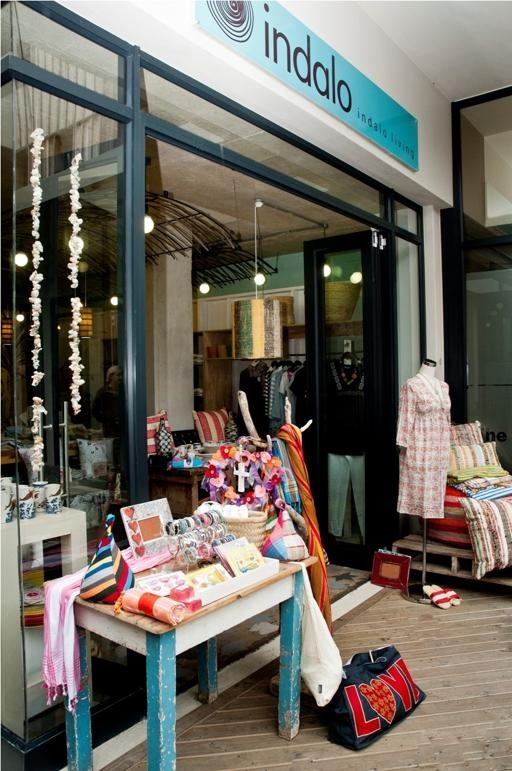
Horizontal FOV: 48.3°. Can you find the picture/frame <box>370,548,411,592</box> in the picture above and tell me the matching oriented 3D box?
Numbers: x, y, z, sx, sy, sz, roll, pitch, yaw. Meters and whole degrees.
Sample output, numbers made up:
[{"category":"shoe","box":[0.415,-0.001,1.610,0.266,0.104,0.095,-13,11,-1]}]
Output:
[{"category":"picture/frame","box":[0.867,1.189,3.678,0.256,0.221,0.172,0,-2,27]}]

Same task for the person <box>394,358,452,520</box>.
[{"category":"person","box":[1.068,0.351,3.657,0.319,1.035,0.291,0,-2,14]}]

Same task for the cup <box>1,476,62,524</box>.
[{"category":"cup","box":[-0.673,0.349,1.731,0.078,0.110,0.155,-2,-5,29]}]

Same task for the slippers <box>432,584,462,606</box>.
[{"category":"slippers","box":[1.137,1.275,3.436,0.170,0.064,0.246,0,-2,33]}]

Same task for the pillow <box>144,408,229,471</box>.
[{"category":"pillow","box":[-0.401,0.322,3.432,0.269,0.340,0.997,1,-2,9]}]

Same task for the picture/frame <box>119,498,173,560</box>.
[{"category":"picture/frame","box":[-0.356,0.470,1.839,0.013,0.182,0.175,-21,-8,35]}]

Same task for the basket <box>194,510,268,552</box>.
[{"category":"basket","box":[-0.038,0.510,1.992,0.106,0.101,0.130,5,-10,-42]}]
